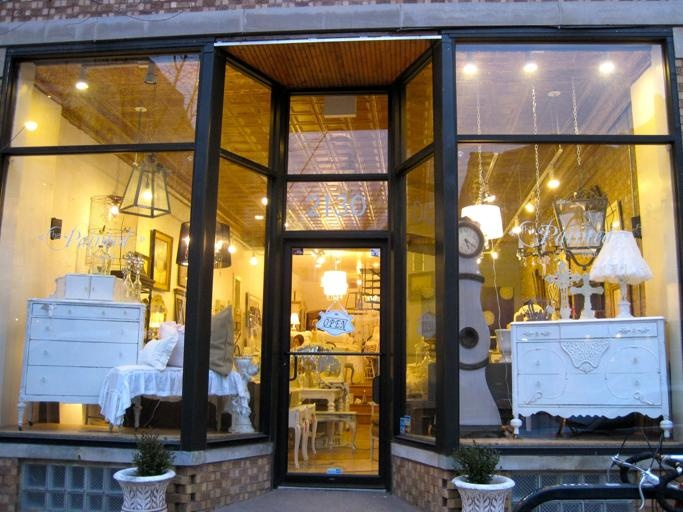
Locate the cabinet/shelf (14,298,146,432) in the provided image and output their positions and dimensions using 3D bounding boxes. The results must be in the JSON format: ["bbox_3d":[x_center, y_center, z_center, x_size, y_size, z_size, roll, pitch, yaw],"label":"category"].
[{"bbox_3d":[-2.755,1.189,6.994,1.236,1.392,0.560,5,-34,-20],"label":"cabinet/shelf"}]

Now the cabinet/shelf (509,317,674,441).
[{"bbox_3d":[2.469,1.230,6.379,1.069,0.870,0.456,-1,-11,7],"label":"cabinet/shelf"}]

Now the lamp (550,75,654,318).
[{"bbox_3d":[2.628,-0.266,6.737,0.853,1.786,0.289,-6,-13,23],"label":"lamp"}]

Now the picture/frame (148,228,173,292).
[{"bbox_3d":[-1.970,0.036,7.257,0.364,0.696,0.151,-10,-15,37],"label":"picture/frame"}]

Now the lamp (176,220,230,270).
[{"bbox_3d":[-1.477,-0.079,7.155,0.504,0.549,0.498,-3,-7,25],"label":"lamp"}]

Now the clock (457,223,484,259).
[{"bbox_3d":[1.330,-0.163,6.784,0.324,0.367,0.096,6,-14,-30],"label":"clock"}]
